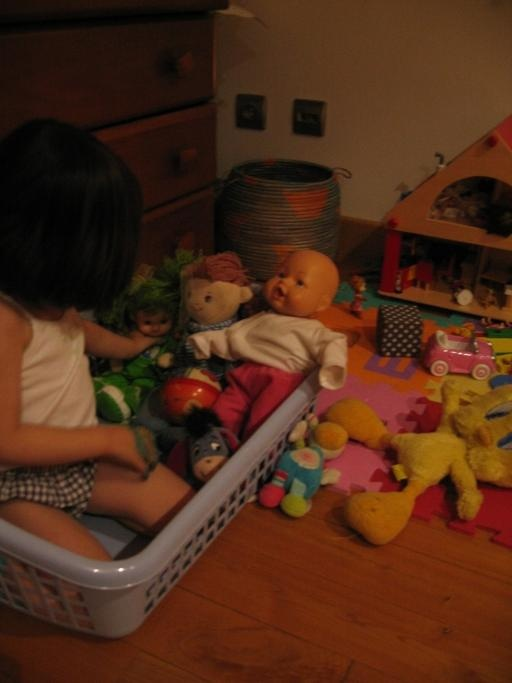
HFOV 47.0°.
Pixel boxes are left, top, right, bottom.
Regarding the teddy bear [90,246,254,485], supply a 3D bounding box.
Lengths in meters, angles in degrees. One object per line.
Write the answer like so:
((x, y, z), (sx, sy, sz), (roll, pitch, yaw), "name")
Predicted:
((-0.122, 0.056, 1.062), (0.279, 0.365, 0.173), (-11, -18, 28), "teddy bear")

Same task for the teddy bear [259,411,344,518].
((0.079, 0.192, 0.922), (0.101, 0.052, 0.163), (28, 53, 8), "teddy bear")
